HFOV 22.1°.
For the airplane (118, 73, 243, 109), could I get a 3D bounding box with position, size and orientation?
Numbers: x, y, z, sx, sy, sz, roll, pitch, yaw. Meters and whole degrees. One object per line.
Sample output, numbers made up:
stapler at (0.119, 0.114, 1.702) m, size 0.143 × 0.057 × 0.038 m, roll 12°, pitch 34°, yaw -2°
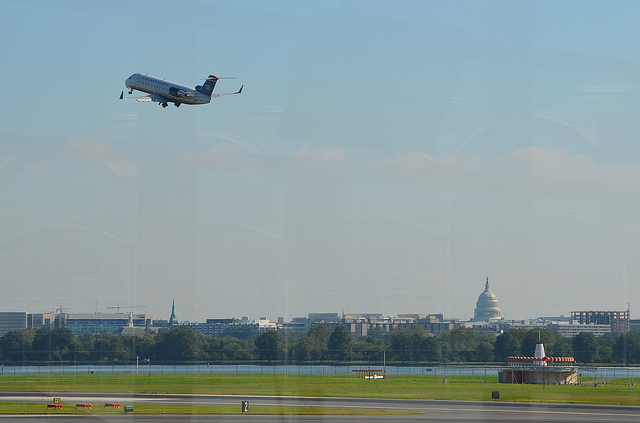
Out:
airplane at (-10.917, -9.226, 120.279) m, size 7.294 × 1.795 × 7.091 m, roll 10°, pitch -11°, yaw -6°
